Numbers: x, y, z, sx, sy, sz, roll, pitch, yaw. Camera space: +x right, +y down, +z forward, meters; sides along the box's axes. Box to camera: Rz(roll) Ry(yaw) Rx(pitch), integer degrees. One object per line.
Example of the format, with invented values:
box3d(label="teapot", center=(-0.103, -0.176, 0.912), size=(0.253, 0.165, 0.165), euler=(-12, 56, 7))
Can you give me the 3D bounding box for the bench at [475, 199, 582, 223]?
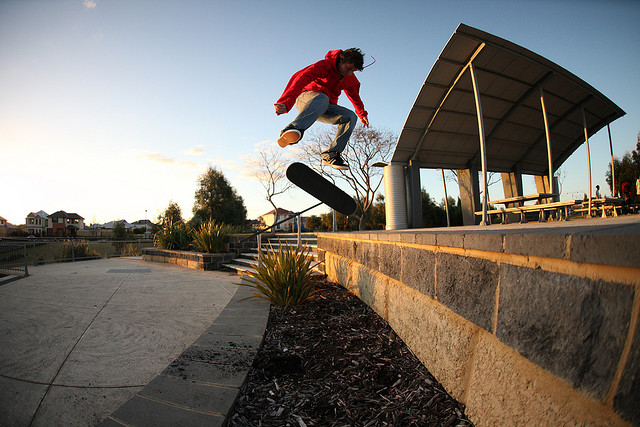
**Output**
box3d(label="bench", center=(5.132, -0.025, 8.658), size=(1.794, 0.468, 1.843), euler=(-4, -5, 36))
